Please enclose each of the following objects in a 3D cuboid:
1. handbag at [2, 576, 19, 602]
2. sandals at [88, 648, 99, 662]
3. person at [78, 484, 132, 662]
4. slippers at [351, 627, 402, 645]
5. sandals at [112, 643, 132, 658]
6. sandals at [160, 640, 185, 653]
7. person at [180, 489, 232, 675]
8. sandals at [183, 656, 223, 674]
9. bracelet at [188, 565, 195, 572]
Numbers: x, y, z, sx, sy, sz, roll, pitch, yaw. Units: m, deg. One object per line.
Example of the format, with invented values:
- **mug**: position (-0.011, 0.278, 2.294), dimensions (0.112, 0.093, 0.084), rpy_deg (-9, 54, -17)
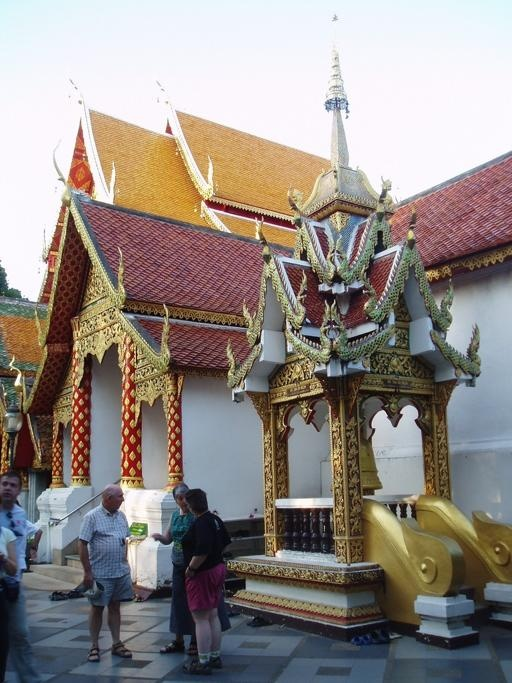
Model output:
- **handbag**: position (-1.590, 1.595, 4.690), dimensions (0.042, 0.156, 0.127), rpy_deg (-13, -15, 39)
- **sandals**: position (-1.287, 2.457, 5.711), dimensions (0.089, 0.090, 0.138), rpy_deg (-1, -11, -11)
- **person**: position (-1.239, 1.859, 5.927), dimensions (0.407, 1.338, 0.549), rpy_deg (-1, -12, -10)
- **slippers**: position (0.953, 2.341, 5.774), dimensions (0.414, 0.107, 0.131), rpy_deg (-5, 11, -5)
- **sandals**: position (-1.084, 2.474, 5.840), dimensions (0.210, 0.080, 0.079), rpy_deg (-11, -15, 40)
- **sandals**: position (-0.675, 2.489, 5.959), dimensions (0.225, 0.092, 0.081), rpy_deg (7, -17, -9)
- **person**: position (-0.390, 1.724, 5.286), dimensions (0.316, 1.272, 0.444), rpy_deg (-6, -12, 12)
- **sandals**: position (-0.383, 2.325, 5.236), dimensions (0.284, 0.084, 0.233), rpy_deg (-2, -10, -4)
- **bracelet**: position (-0.464, 1.608, 5.172), dimensions (0.046, 0.030, 0.044), rpy_deg (-5, -8, 27)
